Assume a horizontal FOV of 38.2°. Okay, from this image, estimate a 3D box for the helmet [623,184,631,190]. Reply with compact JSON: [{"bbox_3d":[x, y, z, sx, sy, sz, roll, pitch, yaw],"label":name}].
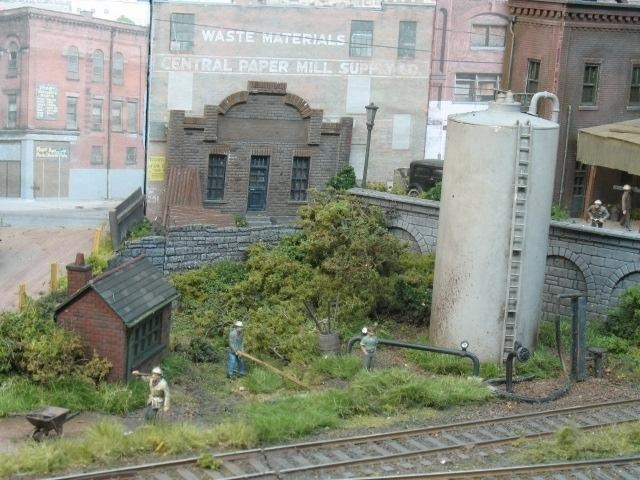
[{"bbox_3d":[11.364,-1.921,34.114,0.288,0.276,0.306,-1,2,1],"label":"helmet"}]
